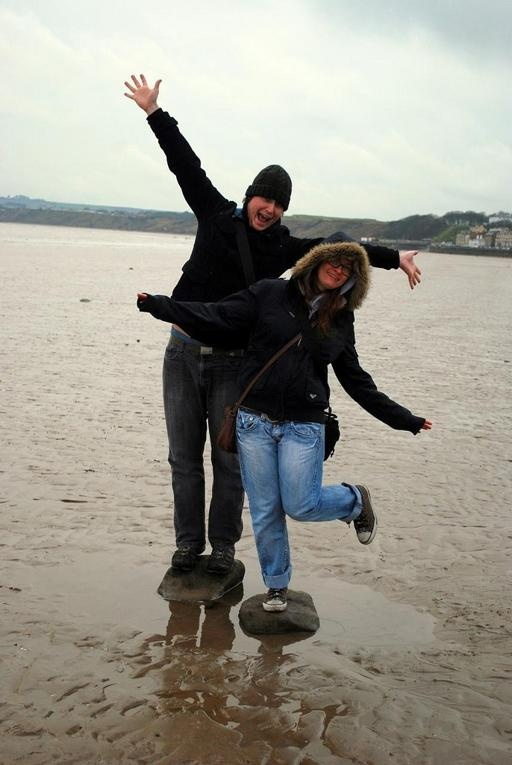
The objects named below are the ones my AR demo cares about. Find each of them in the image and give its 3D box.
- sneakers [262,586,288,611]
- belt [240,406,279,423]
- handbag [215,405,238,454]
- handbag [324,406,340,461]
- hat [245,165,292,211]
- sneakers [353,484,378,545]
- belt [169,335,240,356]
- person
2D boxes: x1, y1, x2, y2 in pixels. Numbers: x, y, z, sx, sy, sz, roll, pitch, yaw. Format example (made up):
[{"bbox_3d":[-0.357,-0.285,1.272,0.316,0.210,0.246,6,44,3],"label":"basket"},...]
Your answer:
[{"bbox_3d":[0.109,1.181,3.617,0.096,0.101,0.268,0,-16,5],"label":"sneakers"},{"bbox_3d":[0.021,0.163,3.374,0.215,0.046,0.048,4,2,34],"label":"belt"},{"bbox_3d":[-0.150,0.244,3.628,0.107,0.259,0.355,4,2,-3],"label":"handbag"},{"bbox_3d":[0.422,0.279,3.676,0.070,0.208,0.354,5,2,9],"label":"handbag"},{"bbox_3d":[0.069,-1.080,3.662,0.243,0.165,0.134,4,2,-3],"label":"hat"},{"bbox_3d":[0.640,0.763,3.772,0.126,0.342,0.146,4,12,40],"label":"sneakers"},{"bbox_3d":[-0.273,-0.219,3.857,0.386,0.086,0.109,3,2,0],"label":"belt"},{"bbox_3d":[-0.245,-0.228,3.848,1.190,3.002,0.710,4,2,4],"label":"person"}]
